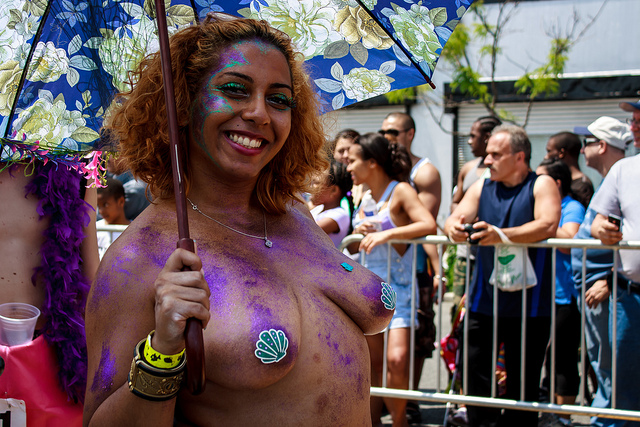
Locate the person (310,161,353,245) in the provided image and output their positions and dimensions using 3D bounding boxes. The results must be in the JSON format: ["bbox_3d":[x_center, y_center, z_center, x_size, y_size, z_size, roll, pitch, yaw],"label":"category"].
[{"bbox_3d":[0.089,-0.076,6.902,0.298,0.824,0.405,7,-25,-1],"label":"person"}]

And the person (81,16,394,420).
[{"bbox_3d":[-0.466,0.010,4.660,1.467,2.153,0.713,5,-7,-27],"label":"person"}]

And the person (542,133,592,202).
[{"bbox_3d":[2.535,-0.343,8.839,0.501,0.836,0.991,5,4,22],"label":"person"}]

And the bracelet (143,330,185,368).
[{"bbox_3d":[-0.793,0.666,4.298,0.188,0.117,0.232,19,14,-18],"label":"bracelet"}]

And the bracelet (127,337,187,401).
[{"bbox_3d":[-0.809,0.785,4.313,0.240,0.212,0.267,24,22,16],"label":"bracelet"}]
